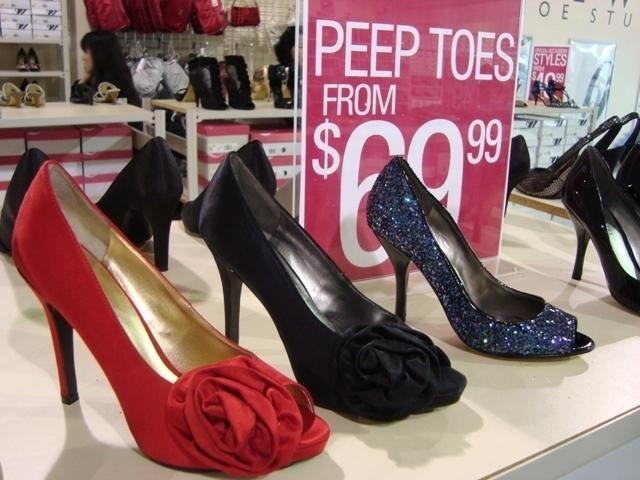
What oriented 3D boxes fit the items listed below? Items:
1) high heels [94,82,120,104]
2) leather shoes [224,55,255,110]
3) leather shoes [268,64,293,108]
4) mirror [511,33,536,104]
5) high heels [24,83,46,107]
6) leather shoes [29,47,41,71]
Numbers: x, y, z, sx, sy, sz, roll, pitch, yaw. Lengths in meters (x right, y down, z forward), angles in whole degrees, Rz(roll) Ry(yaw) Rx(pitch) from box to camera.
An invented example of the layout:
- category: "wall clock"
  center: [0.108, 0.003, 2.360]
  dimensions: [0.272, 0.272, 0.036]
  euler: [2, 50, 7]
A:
- category: "high heels"
  center: [-0.967, -0.680, 2.293]
  dimensions: [0.069, 0.081, 0.182]
  euler: [-9, 25, -22]
- category: "leather shoes"
  center: [-0.402, -0.761, 2.427]
  dimensions: [0.103, 0.132, 0.344]
  euler: [-12, 64, -15]
- category: "leather shoes"
  center: [-0.201, -0.777, 2.516]
  dimensions: [0.094, 0.128, 0.288]
  euler: [-8, 23, -19]
- category: "mirror"
  center: [0.634, -0.530, 1.556]
  dimensions: [0.032, 0.201, 0.120]
  euler: [13, 24, 36]
- category: "high heels"
  center: [-1.207, -0.636, 2.138]
  dimensions: [0.067, 0.092, 0.194]
  euler: [-11, 32, -24]
- category: "leather shoes"
  center: [-2.061, -1.329, 3.618]
  dimensions: [0.075, 0.053, 0.264]
  euler: [-7, 62, -29]
